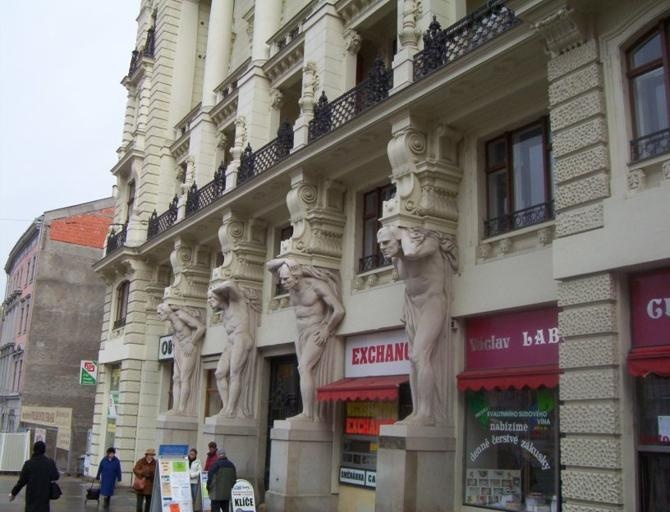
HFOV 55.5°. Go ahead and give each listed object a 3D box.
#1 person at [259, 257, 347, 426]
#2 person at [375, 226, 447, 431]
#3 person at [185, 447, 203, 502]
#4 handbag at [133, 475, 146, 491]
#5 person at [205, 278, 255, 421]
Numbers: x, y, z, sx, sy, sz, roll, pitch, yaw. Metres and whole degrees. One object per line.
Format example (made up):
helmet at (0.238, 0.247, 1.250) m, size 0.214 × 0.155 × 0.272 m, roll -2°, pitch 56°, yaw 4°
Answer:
person at (-0.489, 2.056, 15.868) m, size 1.252 × 3.859 × 0.845 m, roll 1°, pitch -18°, yaw 0°
person at (1.695, 1.385, 12.894) m, size 1.523 × 3.824 × 0.921 m, roll 17°, pitch -25°, yaw -40°
person at (-3.426, 5.369, 15.444) m, size 0.356 × 1.437 × 1.121 m, roll 5°, pitch -20°, yaw -12°
handbag at (-5.083, 5.787, 16.335) m, size 0.197 × 0.334 × 0.565 m, roll 14°, pitch -25°, yaw -33°
person at (-3.027, 2.650, 18.843) m, size 1.264 × 4.023 × 1.153 m, roll 0°, pitch -19°, yaw 1°
